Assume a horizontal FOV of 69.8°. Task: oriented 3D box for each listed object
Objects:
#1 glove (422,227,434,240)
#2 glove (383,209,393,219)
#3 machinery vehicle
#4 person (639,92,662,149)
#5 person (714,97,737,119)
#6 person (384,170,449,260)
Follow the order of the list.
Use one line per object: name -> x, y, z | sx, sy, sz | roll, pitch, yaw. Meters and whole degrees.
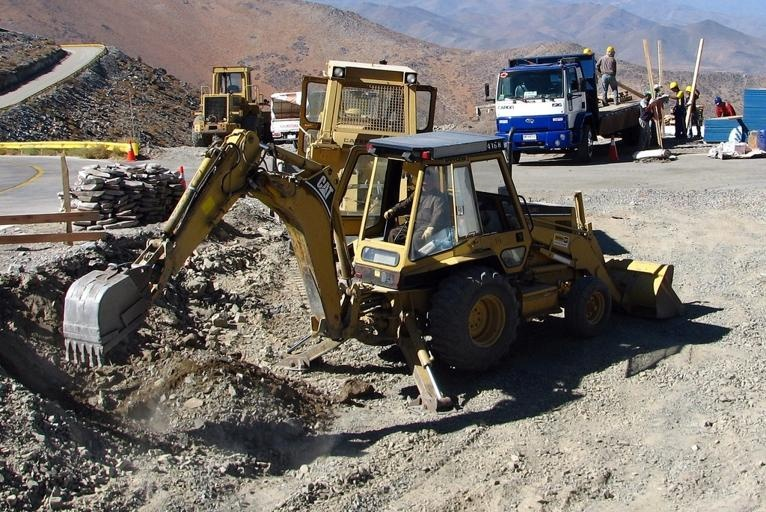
glove -> 0.585, -0.292, 7.123 | 0.122, 0.170, 0.051 | 38, 1, 37
glove -> 0.078, -0.604, 7.972 | 0.104, 0.135, 0.048 | 16, -3, 9
machinery vehicle -> 0.097, -0.286, 8.988 | 9.490, 4.662, 4.067 | -17, 23, -31
person -> 10.905, -5.502, 22.372 | 0.991, 0.996, 2.665 | -4, -26, 27
person -> 14.609, -6.379, 23.419 | 0.686, 0.954, 2.998 | 8, 15, 30
person -> 0.486, -0.638, 7.357 | 0.622, 1.115, 0.897 | -5, 14, -18
